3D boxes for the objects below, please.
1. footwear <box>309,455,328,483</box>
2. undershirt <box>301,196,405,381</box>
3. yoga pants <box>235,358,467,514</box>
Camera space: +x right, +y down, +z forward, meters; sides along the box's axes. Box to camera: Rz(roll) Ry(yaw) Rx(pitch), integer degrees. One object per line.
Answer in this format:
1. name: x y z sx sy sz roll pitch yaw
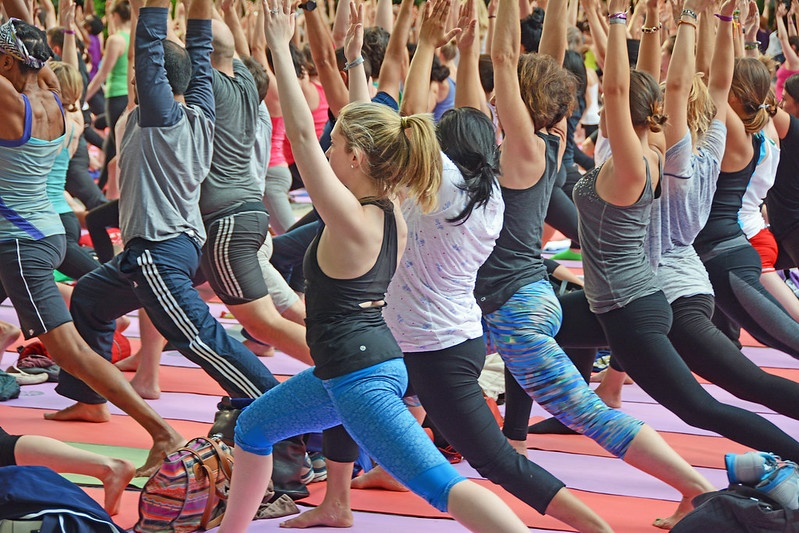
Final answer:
1. footwear: -0.453 1.155 4.428 0.081 0.097 0.227 -6 6 -23
2. undershirt: -0.202 0.096 3.531 0.502 0.721 0.497 -9 15 -34
3. yoga pants: -0.192 0.681 3.472 1.061 0.566 0.274 10 22 14
